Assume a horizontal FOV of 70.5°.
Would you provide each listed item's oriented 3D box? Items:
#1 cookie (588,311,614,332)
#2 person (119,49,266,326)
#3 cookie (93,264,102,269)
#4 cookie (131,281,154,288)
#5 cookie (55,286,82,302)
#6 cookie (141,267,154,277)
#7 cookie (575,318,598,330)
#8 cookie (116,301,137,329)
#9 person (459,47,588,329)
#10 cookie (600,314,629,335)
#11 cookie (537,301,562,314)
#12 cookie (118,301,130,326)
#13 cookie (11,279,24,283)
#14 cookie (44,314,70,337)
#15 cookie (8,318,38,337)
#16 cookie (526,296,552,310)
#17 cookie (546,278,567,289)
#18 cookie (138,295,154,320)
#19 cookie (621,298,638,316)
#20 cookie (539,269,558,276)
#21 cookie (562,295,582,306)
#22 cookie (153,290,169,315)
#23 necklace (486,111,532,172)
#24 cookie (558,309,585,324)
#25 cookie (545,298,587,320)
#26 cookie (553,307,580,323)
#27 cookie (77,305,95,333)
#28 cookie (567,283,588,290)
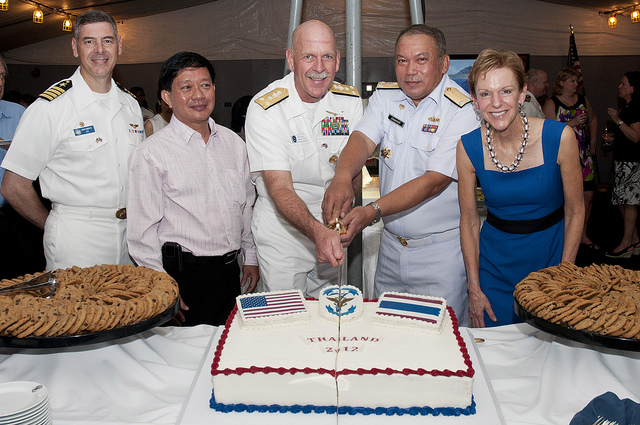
[{"bbox_3d":[1.264,0.490,2.043,0.104,0.025,0.067,-48,4,5],"label":"cookie"},{"bbox_3d":[-0.841,-0.138,3.018,0.895,1.765,0.531,-10,18,-26],"label":"person"},{"bbox_3d":[-1.310,0.322,2.662,0.042,0.015,0.047,3,11,1],"label":"cookie"},{"bbox_3d":[-0.929,0.376,2.371,0.106,0.018,0.040,-15,23,-35],"label":"cookie"},{"bbox_3d":[-1.235,0.386,2.239,0.071,0.030,0.091,6,16,-1],"label":"cookie"},{"bbox_3d":[-0.966,0.331,2.508,0.072,0.013,0.080,12,23,36],"label":"cookie"},{"bbox_3d":[1.196,0.509,2.040,0.070,0.017,0.050,-22,45,20],"label":"cookie"},{"bbox_3d":[-0.888,0.480,2.095,0.026,0.088,0.075,29,-20,-18],"label":"cookie"},{"bbox_3d":[1.217,-0.097,2.737,0.689,1.684,0.343,-2,16,-1],"label":"person"},{"bbox_3d":[1.317,0.486,2.018,0.096,0.021,0.075,-35,3,-12],"label":"cookie"},{"bbox_3d":[1.084,0.460,2.137,0.061,0.018,0.066,-24,10,43],"label":"cookie"},{"bbox_3d":[-0.905,0.468,2.113,0.022,0.075,0.054,16,-17,-32],"label":"cookie"},{"bbox_3d":[-1.571,0.356,2.348,0.029,0.008,0.030,2,7,-9],"label":"cookie"},{"bbox_3d":[-1.171,0.509,2.015,0.107,0.065,0.052,-16,22,-37],"label":"cookie"},{"bbox_3d":[-1.304,0.509,1.987,0.081,0.021,0.085,-38,-3,-28],"label":"cookie"},{"bbox_3d":[1.047,0.433,2.179,0.068,0.025,0.074,-23,-4,37],"label":"cookie"},{"bbox_3d":[1.221,0.365,2.331,0.039,0.012,0.112,-7,19,-16],"label":"cookie"},{"bbox_3d":[-0.827,0.456,2.150,0.072,0.097,0.011,-5,-11,33],"label":"cookie"},{"bbox_3d":[1.446,0.447,2.103,0.059,0.018,0.060,-7,16,1],"label":"cookie"},{"bbox_3d":[1.243,0.330,2.448,0.088,0.021,0.072,13,24,38],"label":"cookie"},{"bbox_3d":[1.207,0.420,2.169,0.054,0.019,0.057,-16,-5,10],"label":"cookie"},{"bbox_3d":[-0.774,0.446,2.217,0.009,0.090,0.069,-16,15,-43],"label":"cookie"},{"bbox_3d":[1.124,-0.430,2.706,0.249,0.352,0.127,5,18,22],"label":"necklace"},{"bbox_3d":[1.157,0.483,2.067,0.059,0.020,0.078,-30,-14,-10],"label":"cookie"},{"bbox_3d":[1.128,0.458,2.102,0.107,0.036,0.115,-26,-5,-9],"label":"cookie"},{"bbox_3d":[1.138,0.481,2.072,0.075,0.019,0.072,-30,-11,-17],"label":"cookie"},{"bbox_3d":[-1.060,0.484,2.071,0.070,0.074,0.117,-5,18,-10],"label":"cookie"},{"bbox_3d":[1.303,0.377,2.291,0.102,0.010,0.042,-7,19,-14],"label":"cookie"}]
